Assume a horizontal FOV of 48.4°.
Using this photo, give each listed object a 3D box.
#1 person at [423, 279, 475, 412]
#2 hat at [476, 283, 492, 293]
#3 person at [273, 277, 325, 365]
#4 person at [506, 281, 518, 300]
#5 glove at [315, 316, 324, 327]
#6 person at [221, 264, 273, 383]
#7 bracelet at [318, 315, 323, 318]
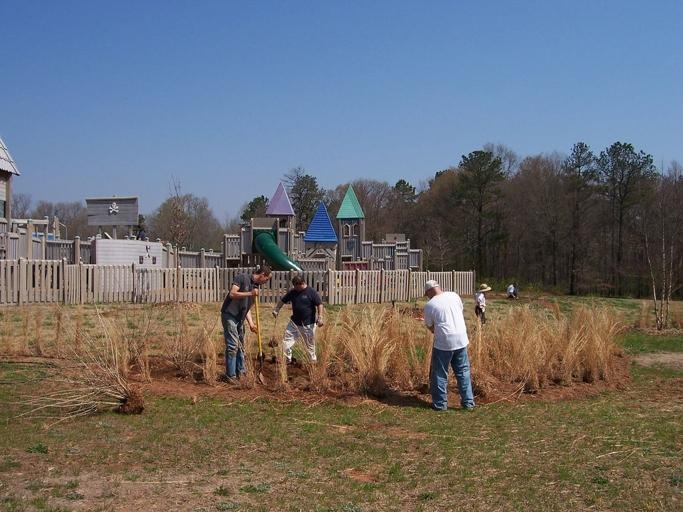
[{"bbox_3d":[1.816,1.526,12.752,0.888,2.049,0.824,2,11,2],"label":"person"},{"bbox_3d":[5.382,1.212,28.639,0.685,0.248,0.667,-9,-5,-44],"label":"hat"},{"bbox_3d":[-0.771,1.157,13.957,0.863,1.663,0.976,1,11,-2],"label":"person"},{"bbox_3d":[7.456,1.525,33.189,0.228,0.796,0.327,-7,17,-31],"label":"person"},{"bbox_3d":[-0.391,1.217,13.912,0.114,0.168,0.078,16,-37,-15],"label":"glove"},{"bbox_3d":[-1.762,1.179,13.444,0.604,1.894,0.879,9,13,33],"label":"person"},{"bbox_3d":[-0.387,1.113,13.907,0.052,0.059,0.053,3,2,33],"label":"bracelet"}]
